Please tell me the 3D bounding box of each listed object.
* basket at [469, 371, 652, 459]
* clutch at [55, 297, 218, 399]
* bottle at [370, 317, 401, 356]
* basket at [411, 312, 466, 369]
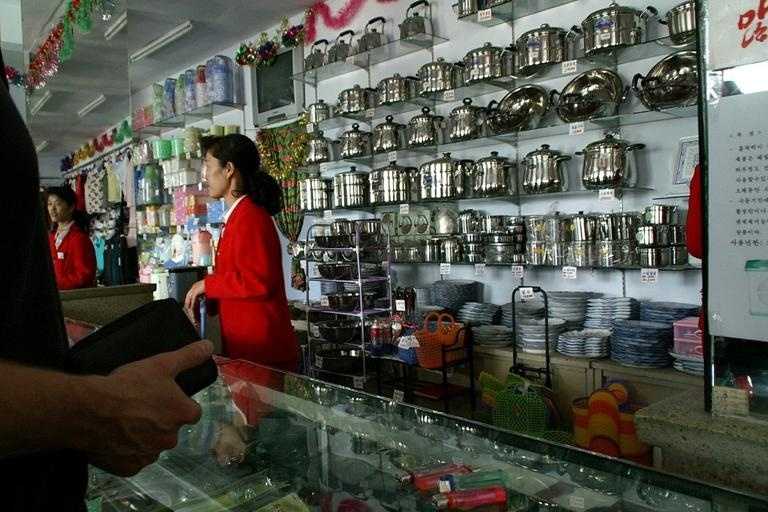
[{"bbox_3d":[0.938,0.881,2.900,0.537,0.414,0.864,-5,3,-38],"label":"basket"},{"bbox_3d":[-0.452,0.169,0.978,0.258,0.182,0.073,-26,51,-8],"label":"clutch"},{"bbox_3d":[0.009,0.545,3.554,0.183,0.232,0.259,-3,-7,43],"label":"bottle"},{"bbox_3d":[0.312,0.548,3.418,0.461,0.384,0.254,-3,3,-28],"label":"basket"}]
